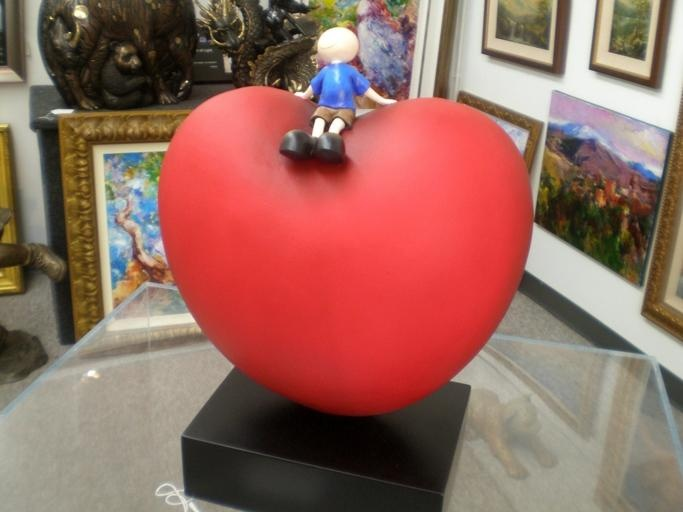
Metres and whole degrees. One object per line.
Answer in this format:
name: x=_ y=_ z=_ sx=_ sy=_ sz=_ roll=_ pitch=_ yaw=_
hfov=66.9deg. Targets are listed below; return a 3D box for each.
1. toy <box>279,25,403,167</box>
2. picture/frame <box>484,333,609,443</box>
toy: x=0.002 y=-0.303 z=0.936 sx=0.190 sy=0.204 sz=0.325 roll=0 pitch=22 yaw=4
picture/frame: x=0.495 y=0.292 z=1.289 sx=0.274 sy=0.107 sz=0.213 roll=13 pitch=27 yaw=32
